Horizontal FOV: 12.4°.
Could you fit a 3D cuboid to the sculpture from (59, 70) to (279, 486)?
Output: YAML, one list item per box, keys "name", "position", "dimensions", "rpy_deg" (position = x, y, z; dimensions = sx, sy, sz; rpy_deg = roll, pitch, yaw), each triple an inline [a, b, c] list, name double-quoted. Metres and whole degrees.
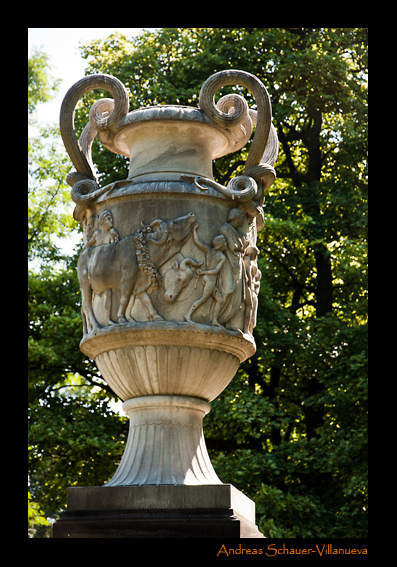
- name: "sculpture"
  position: [-0.232, 0.056, 16.319]
  dimensions: [2.021, 3.923, 1.559]
  rpy_deg: [-3, -16, 18]
